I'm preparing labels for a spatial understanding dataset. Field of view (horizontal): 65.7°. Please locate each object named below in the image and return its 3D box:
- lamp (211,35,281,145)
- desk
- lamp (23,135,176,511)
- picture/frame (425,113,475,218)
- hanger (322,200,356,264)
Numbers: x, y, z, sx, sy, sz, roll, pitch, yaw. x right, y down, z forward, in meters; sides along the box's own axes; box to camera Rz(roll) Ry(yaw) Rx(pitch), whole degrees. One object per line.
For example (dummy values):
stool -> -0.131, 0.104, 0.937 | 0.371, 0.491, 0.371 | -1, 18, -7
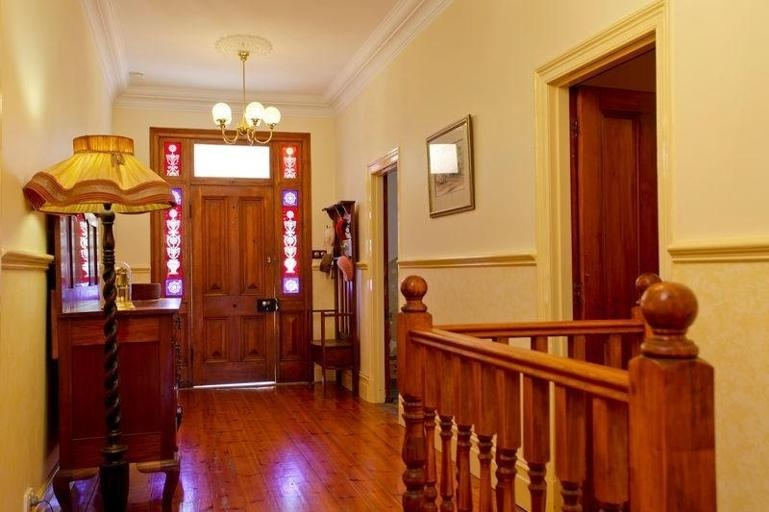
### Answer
lamp -> -1.609, -1.805, 6.775 | 0.823, 1.146, 0.812 | -4, -3, 33
desk -> -1.820, 1.006, 3.991 | 0.582, 1.396, 1.433 | -1, -2, -18
lamp -> -1.790, 0.453, 3.825 | 0.841, 2.522, 0.540 | -1, -1, 5
picture/frame -> 0.568, -0.771, 5.115 | 0.064, 0.946, 0.857 | 1, -6, -20
hanger -> -0.580, -0.298, 7.874 | 0.227, 0.762, 0.782 | -4, 2, -22
